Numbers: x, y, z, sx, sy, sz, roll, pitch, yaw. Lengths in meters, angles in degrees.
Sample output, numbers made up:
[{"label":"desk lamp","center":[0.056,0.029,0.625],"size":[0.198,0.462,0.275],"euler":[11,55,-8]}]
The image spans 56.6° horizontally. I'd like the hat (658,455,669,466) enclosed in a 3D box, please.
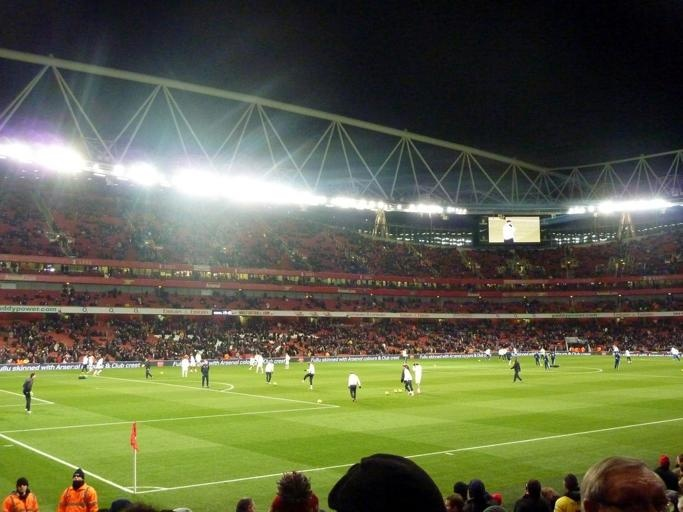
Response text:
[{"label":"hat","center":[10.556,6.680,20.821],"size":[0.216,0.316,0.452],"euler":[-8,-15,32]}]
